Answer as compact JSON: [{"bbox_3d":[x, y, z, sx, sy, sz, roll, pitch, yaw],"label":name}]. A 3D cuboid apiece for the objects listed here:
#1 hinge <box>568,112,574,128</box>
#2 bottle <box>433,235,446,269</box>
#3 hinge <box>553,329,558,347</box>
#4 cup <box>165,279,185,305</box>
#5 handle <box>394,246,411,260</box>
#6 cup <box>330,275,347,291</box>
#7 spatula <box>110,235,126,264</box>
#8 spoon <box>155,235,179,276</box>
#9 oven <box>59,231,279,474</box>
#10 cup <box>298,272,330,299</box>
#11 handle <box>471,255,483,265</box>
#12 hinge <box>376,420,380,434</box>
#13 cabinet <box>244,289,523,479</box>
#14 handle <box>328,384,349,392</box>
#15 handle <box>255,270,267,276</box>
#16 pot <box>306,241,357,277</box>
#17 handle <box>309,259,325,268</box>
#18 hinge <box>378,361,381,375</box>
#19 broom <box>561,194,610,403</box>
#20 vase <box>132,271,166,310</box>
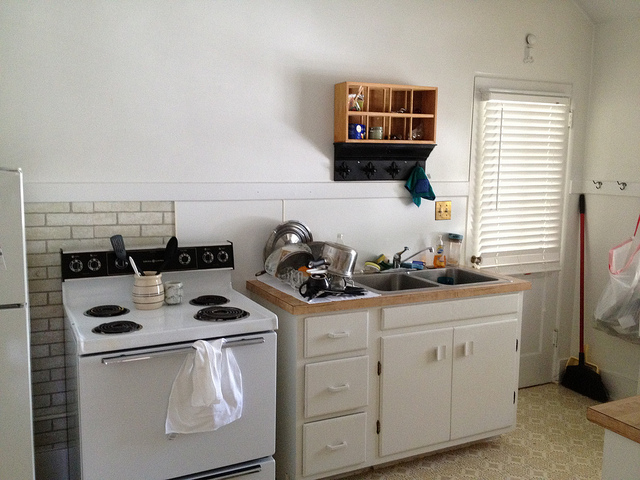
[{"bbox_3d":[2.104,-1.012,4.146,0.020,0.086,0.090,4,7,11],"label":"hinge"},{"bbox_3d":[0.916,0.091,3.754,0.089,0.213,0.242,3,13,14],"label":"bottle"},{"bbox_3d":[2.039,0.857,4.280,0.047,0.156,0.022,-2,13,-8],"label":"hinge"},{"bbox_3d":[-0.843,0.306,2.848,0.116,0.128,0.118,0,2,0],"label":"cup"},{"bbox_3d":[0.611,0.091,3.655,0.094,0.099,0.256,4,13,16],"label":"handle"},{"bbox_3d":[0.110,0.269,3.040,0.128,0.125,0.076,1,9,-2],"label":"cup"},{"bbox_3d":[-1.154,0.048,2.828,0.068,0.165,0.165,-5,14,-22],"label":"spatula"},{"bbox_3d":[-0.870,0.091,2.863,0.073,0.258,0.033,26,1,24],"label":"spoon"},{"bbox_3d":[-0.798,0.739,2.768,1.160,1.482,1.029,-7,15,-30],"label":"oven"},{"bbox_3d":[-0.033,0.274,2.924,0.184,0.120,0.204,0,13,-2],"label":"cup"},{"bbox_3d":[1.247,0.157,3.904,0.076,0.023,0.056,6,48,6],"label":"handle"},{"bbox_3d":[0.356,1.155,3.042,0.021,0.084,0.010,2,13,7],"label":"hinge"},{"bbox_3d":[0.302,0.770,3.420,1.943,1.241,1.049,-2,4,-26],"label":"cabinet"},{"bbox_3d":[0.109,0.859,2.883,0.079,0.032,0.046,-1,4,-27],"label":"handle"},{"bbox_3d":[-0.402,0.229,3.314,0.072,0.046,0.023,-2,13,-11],"label":"handle"},{"bbox_3d":[0.064,0.115,3.044,0.244,0.199,0.436,28,14,33],"label":"pot"},{"bbox_3d":[-0.023,0.148,2.985,0.030,0.034,0.126,22,25,36],"label":"handle"},{"bbox_3d":[0.361,0.789,3.007,0.017,0.072,0.009,2,13,9],"label":"hinge"},{"bbox_3d":[2.237,0.471,4.112,0.291,1.619,0.660,-1,13,-3],"label":"broom"},{"bbox_3d":[-0.922,0.265,2.714,0.183,0.187,0.188,0,5,-12],"label":"vase"}]
